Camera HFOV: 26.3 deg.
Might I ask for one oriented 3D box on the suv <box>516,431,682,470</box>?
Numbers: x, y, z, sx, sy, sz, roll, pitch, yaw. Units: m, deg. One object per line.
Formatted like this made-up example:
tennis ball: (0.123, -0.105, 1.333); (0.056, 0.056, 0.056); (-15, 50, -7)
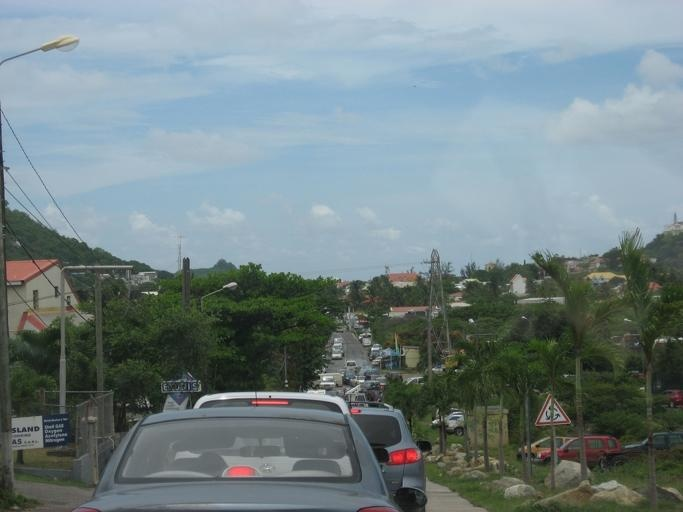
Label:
suv: (13.369, 9.805, 74.579); (7.328, 1.901, 2.189); (-1, -10, 6)
